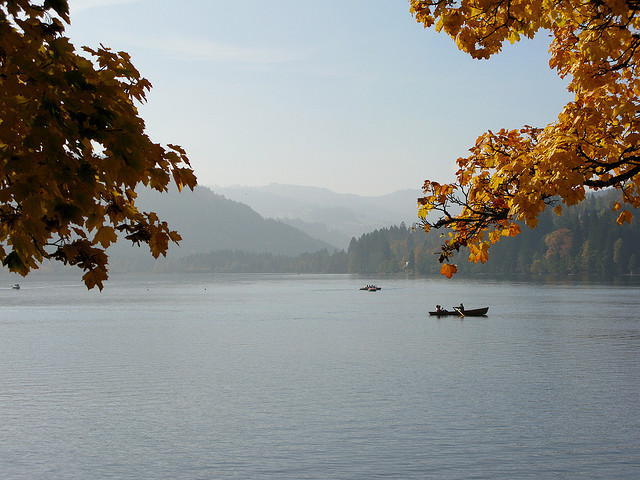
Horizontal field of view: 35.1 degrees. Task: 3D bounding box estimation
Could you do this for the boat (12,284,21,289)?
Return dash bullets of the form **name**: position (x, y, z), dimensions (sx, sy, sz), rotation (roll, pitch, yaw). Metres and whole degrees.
- **boat**: position (-64.585, 9.737, 213.259), dimensions (1.484, 0.703, 1.974), rotation (10, -13, -36)
